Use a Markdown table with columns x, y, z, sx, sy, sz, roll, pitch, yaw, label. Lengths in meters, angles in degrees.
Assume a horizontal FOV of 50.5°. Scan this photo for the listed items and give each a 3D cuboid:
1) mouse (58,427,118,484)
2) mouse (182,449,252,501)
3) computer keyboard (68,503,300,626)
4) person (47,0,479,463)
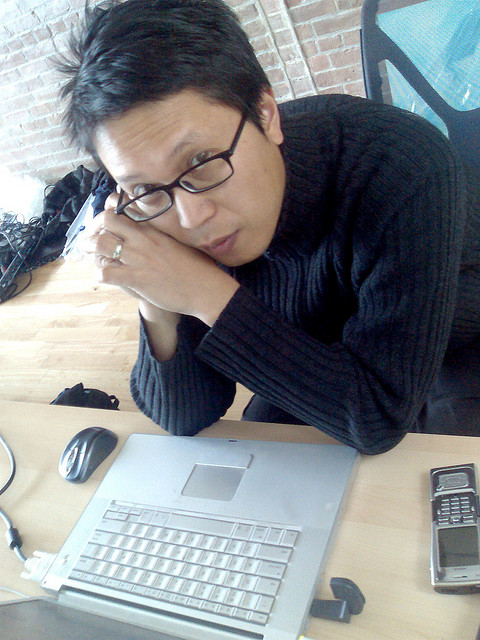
| x | y | z | sx | sy | sz | roll | pitch | yaw | label |
| --- | --- | --- | --- | --- | --- | --- | --- | --- | --- |
| -0.239 | 0.207 | 0.826 | 0.059 | 0.035 | 0.098 | 7 | 45 | 37 | mouse |
| -0.031 | 0.217 | 0.709 | 0.080 | 0.007 | 0.098 | 1 | 21 | 14 | mouse |
| -0.075 | 0.289 | 0.608 | 0.318 | 0.020 | 0.125 | -4 | 40 | 30 | computer keyboard |
| 0.065 | -0.103 | 0.810 | 0.665 | 0.683 | 0.376 | 5 | 14 | 14 | person |
